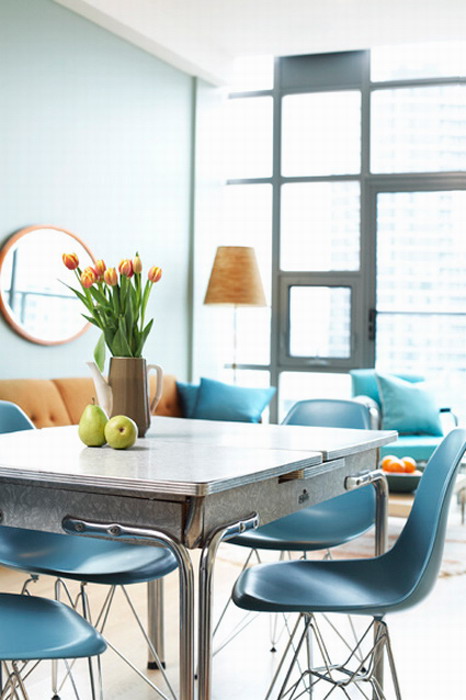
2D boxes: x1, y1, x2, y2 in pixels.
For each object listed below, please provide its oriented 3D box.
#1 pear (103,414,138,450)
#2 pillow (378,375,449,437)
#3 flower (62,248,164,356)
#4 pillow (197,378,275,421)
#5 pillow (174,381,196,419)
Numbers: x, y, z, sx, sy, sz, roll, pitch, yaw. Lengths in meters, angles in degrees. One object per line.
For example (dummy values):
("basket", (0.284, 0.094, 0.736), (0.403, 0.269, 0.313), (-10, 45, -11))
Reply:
("pear", (-0.222, 0.161, 1.248), (0.058, 0.068, 0.066), (2, -4, -3))
("pillow", (1.219, 0.393, 4.307), (0.330, 0.352, 0.133), (7, -29, -15))
("flower", (-0.272, -0.103, 1.456), (0.155, 0.238, 0.187), (0, 6, -9))
("pillow", (-0.013, 0.366, 4.377), (0.317, 0.115, 0.373), (6, 47, 14))
("pillow", (-0.339, 0.364, 4.397), (0.208, 0.295, 0.104), (1, -8, -8))
